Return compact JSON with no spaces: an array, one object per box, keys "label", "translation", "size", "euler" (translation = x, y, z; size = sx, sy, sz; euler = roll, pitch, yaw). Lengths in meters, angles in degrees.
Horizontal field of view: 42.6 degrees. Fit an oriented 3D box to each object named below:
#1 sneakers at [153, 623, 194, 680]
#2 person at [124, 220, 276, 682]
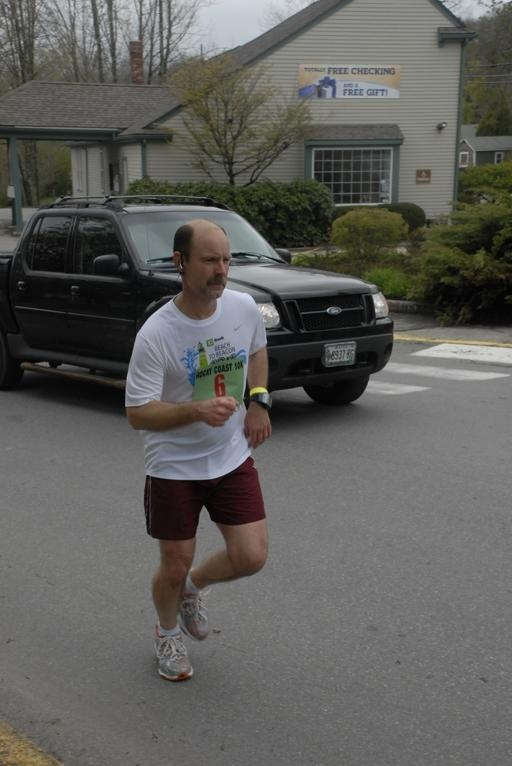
[{"label":"sneakers","translation":[-0.291,0.939,2.305],"size":[0.086,0.098,0.215],"euler":[-3,5,-19]},{"label":"person","translation":[-0.171,0.245,2.223],"size":[0.431,1.543,0.614],"euler":[-2,3,2]}]
